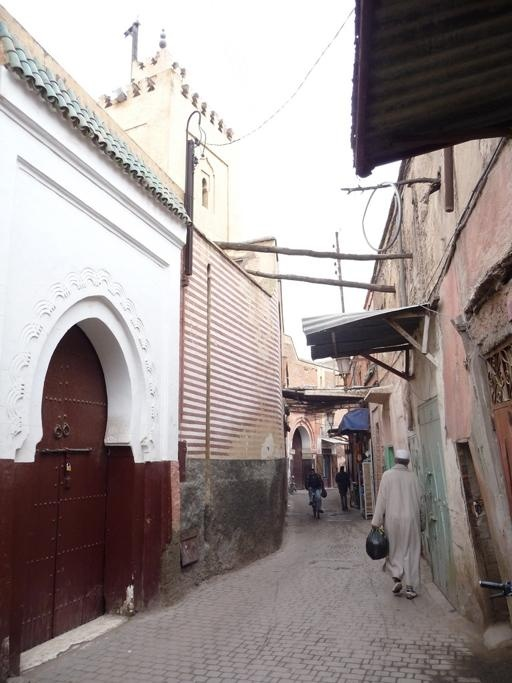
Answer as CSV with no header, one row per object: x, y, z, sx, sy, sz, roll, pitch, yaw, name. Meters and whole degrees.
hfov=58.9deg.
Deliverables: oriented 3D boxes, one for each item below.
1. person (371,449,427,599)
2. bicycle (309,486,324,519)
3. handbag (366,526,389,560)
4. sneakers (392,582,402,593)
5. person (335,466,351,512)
1.829,2.332,5.766,0.462,1.802,0.609,-1,-42,19,person
2.193,5.678,15.956,0.375,0.728,1.093,1,-27,-2,bicycle
1.480,2.442,5.508,0.252,0.373,0.428,-9,-18,16,handbag
1.675,2.905,5.352,0.063,0.120,0.162,3,-34,3,sneakers
3.513,5.779,18.269,0.414,1.860,0.503,-3,11,9,person
